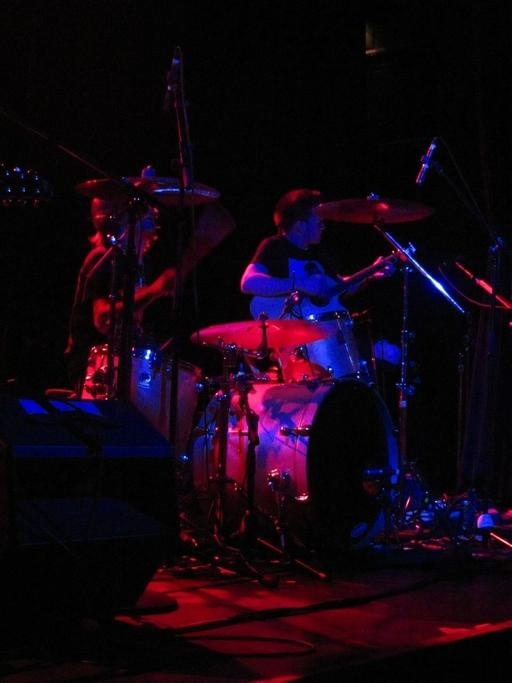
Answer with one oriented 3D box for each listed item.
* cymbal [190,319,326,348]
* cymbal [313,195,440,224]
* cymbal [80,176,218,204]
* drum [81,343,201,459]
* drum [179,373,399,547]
[{"bbox_3d":[0.030,-0.018,3.480,0.610,0.128,0.613,2,-3,15],"label":"cymbal"},{"bbox_3d":[0.646,-0.700,4.167,0.618,0.155,0.420,3,-3,5],"label":"cymbal"},{"bbox_3d":[-0.448,-0.646,3.281,0.387,0.057,0.342,10,-1,-19],"label":"cymbal"},{"bbox_3d":[-0.561,0.312,3.781,0.585,0.549,0.547,2,-12,-20],"label":"drum"},{"bbox_3d":[0.249,0.543,3.809,0.893,0.845,0.856,12,-12,-39],"label":"drum"}]
